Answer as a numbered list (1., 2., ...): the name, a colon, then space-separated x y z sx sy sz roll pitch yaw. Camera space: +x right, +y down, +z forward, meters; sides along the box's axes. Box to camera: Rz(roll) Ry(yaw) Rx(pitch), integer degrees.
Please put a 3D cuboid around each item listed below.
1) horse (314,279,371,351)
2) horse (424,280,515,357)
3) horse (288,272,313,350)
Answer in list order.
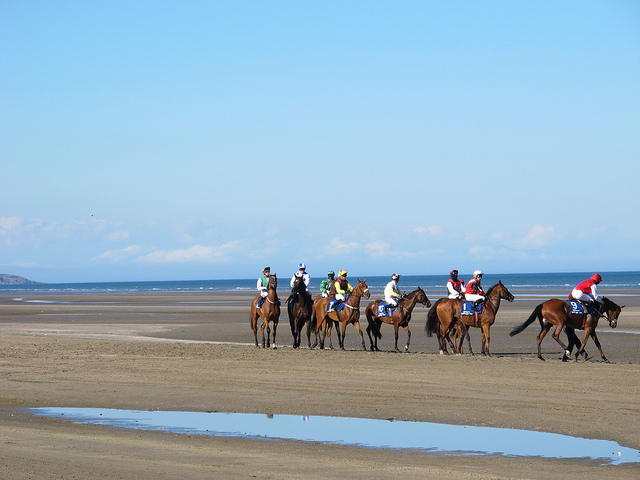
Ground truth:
1. horse: 0.986 2.616 42.434 1.748 2.897 1.814 -2 -1 -14
2. horse: 5.250 2.850 40.219 3.010 3.102 1.502 9 14 43
3. horse: -0.789 2.649 42.395 0.822 2.740 0.812 2 10 14
